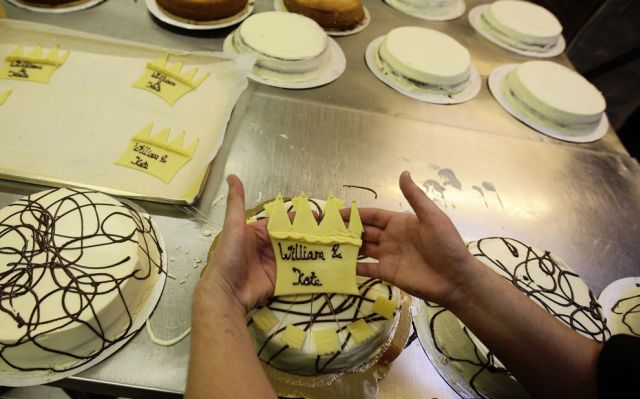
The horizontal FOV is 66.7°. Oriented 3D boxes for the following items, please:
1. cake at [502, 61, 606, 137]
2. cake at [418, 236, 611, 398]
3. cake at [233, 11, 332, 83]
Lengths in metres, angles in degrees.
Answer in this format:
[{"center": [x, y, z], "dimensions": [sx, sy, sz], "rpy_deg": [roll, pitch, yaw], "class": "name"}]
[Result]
[{"center": [1.683, -0.769, 3.465], "dimensions": [0.568, 0.140, 0.572], "rpy_deg": [39, 46, 12], "class": "cake"}, {"center": [1.021, 0.665, 2.660], "dimensions": [0.838, 0.211, 0.902], "rpy_deg": [-7, 66, -15], "class": "cake"}, {"center": [-0.251, -1.126, 3.414], "dimensions": [0.518, 0.124, 0.534], "rpy_deg": [24, 51, 11], "class": "cake"}]
